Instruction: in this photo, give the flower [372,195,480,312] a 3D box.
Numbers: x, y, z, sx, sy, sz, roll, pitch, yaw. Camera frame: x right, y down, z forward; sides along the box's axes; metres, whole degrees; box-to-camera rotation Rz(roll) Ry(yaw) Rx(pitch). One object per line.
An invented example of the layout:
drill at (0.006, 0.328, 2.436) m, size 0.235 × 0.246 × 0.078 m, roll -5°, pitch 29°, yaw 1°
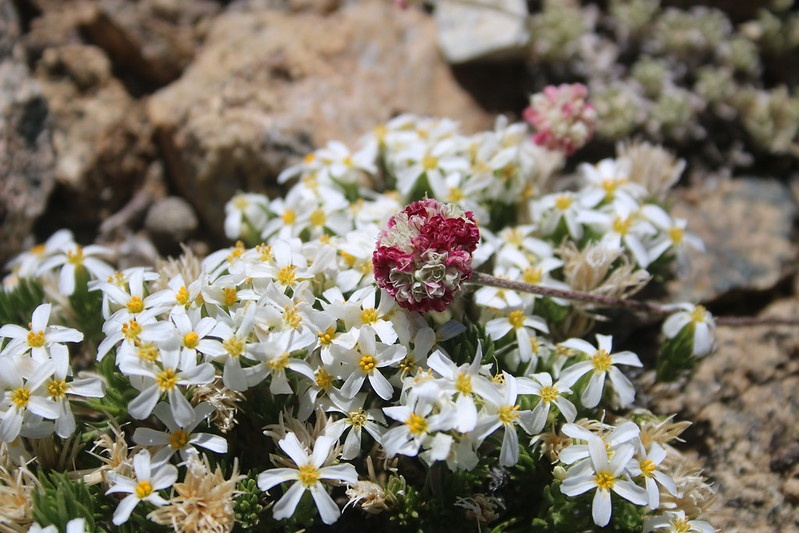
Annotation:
flower at (0.183, -0.080, 8.079) m, size 0.736 × 0.503 × 0.543 m, roll -6°, pitch 45°, yaw 4°
